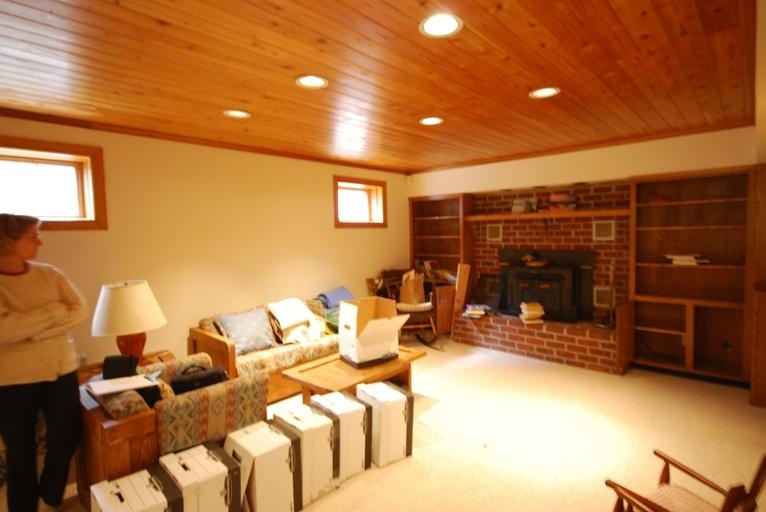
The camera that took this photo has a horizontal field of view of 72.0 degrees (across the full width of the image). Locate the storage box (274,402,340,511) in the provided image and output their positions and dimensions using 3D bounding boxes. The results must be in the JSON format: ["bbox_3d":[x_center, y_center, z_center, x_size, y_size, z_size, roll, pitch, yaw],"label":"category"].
[{"bbox_3d":[-0.612,1.674,4.282,0.405,0.738,0.720,-2,4,-31],"label":"storage box"}]

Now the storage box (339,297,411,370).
[{"bbox_3d":[-0.148,0.752,5.260,0.605,0.539,0.586,10,9,42],"label":"storage box"}]

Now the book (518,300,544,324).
[{"bbox_3d":[1.971,0.724,6.874,0.332,0.221,0.252,-1,2,-8],"label":"book"}]

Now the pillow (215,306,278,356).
[{"bbox_3d":[-1.459,0.804,5.742,0.535,0.470,0.160,-2,-36,-52],"label":"pillow"}]

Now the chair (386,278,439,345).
[{"bbox_3d":[0.427,0.675,7.013,0.539,0.921,0.803,2,6,-3],"label":"chair"}]

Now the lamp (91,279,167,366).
[{"bbox_3d":[-2.386,0.674,4.964,0.649,0.716,0.630,-7,4,22],"label":"lamp"}]

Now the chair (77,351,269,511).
[{"bbox_3d":[-1.668,1.292,4.168,1.165,0.851,1.171,-2,0,39],"label":"chair"}]

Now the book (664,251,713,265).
[{"bbox_3d":[3.511,0.044,6.015,0.473,0.145,0.254,-1,5,27],"label":"book"}]

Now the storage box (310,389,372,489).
[{"bbox_3d":[-0.451,1.585,4.698,0.497,0.593,0.636,-5,11,-38],"label":"storage box"}]

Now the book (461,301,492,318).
[{"bbox_3d":[1.360,0.767,7.419,0.401,0.161,0.484,-2,5,17],"label":"book"}]
